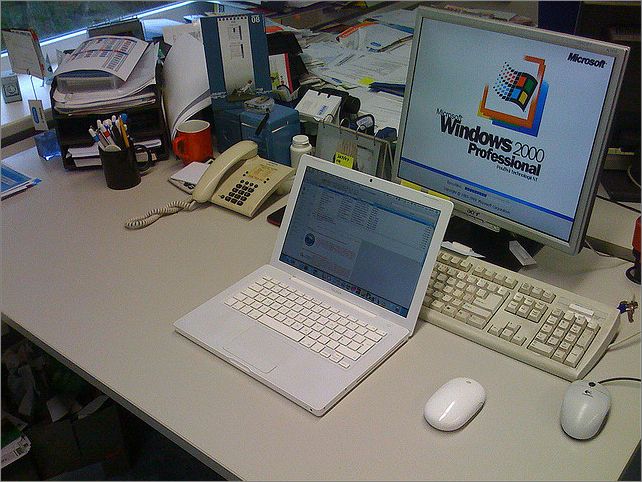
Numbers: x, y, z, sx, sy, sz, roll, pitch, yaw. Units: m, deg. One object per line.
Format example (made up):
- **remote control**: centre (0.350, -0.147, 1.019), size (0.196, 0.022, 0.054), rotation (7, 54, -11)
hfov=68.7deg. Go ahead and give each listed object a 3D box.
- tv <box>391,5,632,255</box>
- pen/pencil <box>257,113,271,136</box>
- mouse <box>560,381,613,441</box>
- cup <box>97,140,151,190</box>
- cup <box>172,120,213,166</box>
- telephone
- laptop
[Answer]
- **tv**: centre (0.446, -0.246, 1.105), size (0.527, 0.512, 0.106), rotation (33, 41, 30)
- **pen/pencil**: centre (-0.191, -0.372, 1.531), size (0.023, 0.099, 0.013), rotation (45, 32, 20)
- **mouse**: centre (0.506, 0.315, 0.893), size (0.074, 0.040, 0.125), rotation (6, 48, 49)
- **cup**: centre (-0.629, -0.236, 1.470), size (0.150, 0.120, 0.094), rotation (-24, 39, -36)
- **cup**: centre (-0.440, -0.318, 1.563), size (0.086, 0.129, 0.144), rotation (16, 42, 12)
- **telephone**: centre (-0.304, -0.212, 1.325), size (0.263, 0.118, 0.420), rotation (28, 50, 25)
- **laptop**: centre (-0.018, 0.047, 0.998), size (0.433, 0.294, 0.462), rotation (19, 31, 32)
